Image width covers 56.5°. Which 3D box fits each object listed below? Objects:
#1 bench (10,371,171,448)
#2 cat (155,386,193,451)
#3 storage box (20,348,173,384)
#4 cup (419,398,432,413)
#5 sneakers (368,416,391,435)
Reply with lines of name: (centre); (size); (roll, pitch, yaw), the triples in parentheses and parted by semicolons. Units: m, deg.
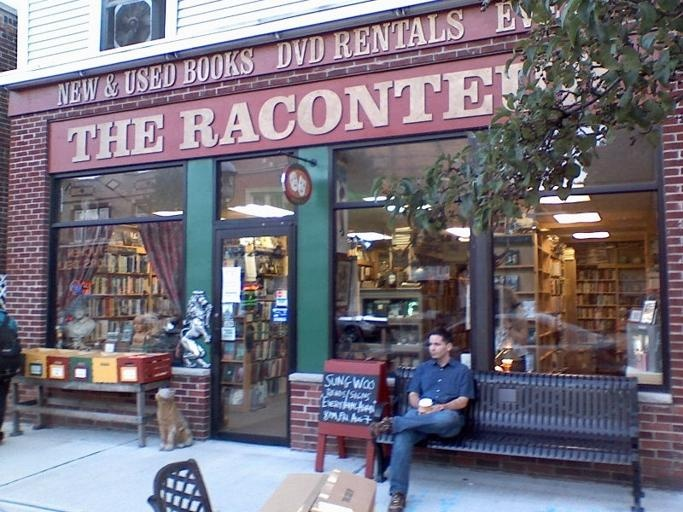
bench: (-3.561, 2.116, 8.900); (2.152, 0.752, 0.712); (0, -4, 15)
cat: (-2.147, 2.078, 8.170); (0.453, 0.825, 0.378); (-2, 2, -22)
storage box: (-3.374, 1.511, 8.688); (1.964, 0.385, 0.432); (0, 2, 17)
cup: (0.858, 1.560, 6.644); (0.138, 0.110, 0.131); (-2, -5, 0)
sneakers: (0.405, 1.762, 6.586); (0.214, 0.153, 0.361); (-1, 2, 6)
